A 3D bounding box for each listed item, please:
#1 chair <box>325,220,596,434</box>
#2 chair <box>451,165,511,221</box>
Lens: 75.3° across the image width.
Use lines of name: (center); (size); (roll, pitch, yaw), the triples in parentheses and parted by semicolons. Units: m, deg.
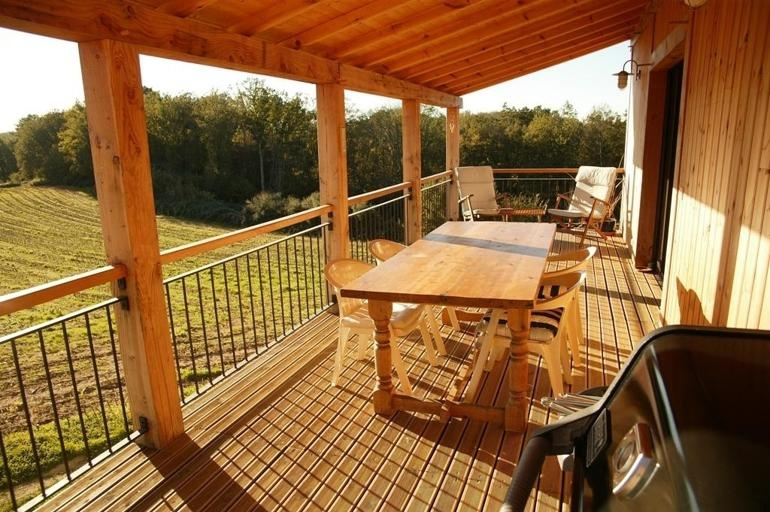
chair: (0.544, 0.460, 3.798); (1.194, 1.022, 1.726); (8, 19, 19)
chair: (1.618, -1.006, 8.482); (0.699, 1.111, 1.006); (-7, 23, -17)
